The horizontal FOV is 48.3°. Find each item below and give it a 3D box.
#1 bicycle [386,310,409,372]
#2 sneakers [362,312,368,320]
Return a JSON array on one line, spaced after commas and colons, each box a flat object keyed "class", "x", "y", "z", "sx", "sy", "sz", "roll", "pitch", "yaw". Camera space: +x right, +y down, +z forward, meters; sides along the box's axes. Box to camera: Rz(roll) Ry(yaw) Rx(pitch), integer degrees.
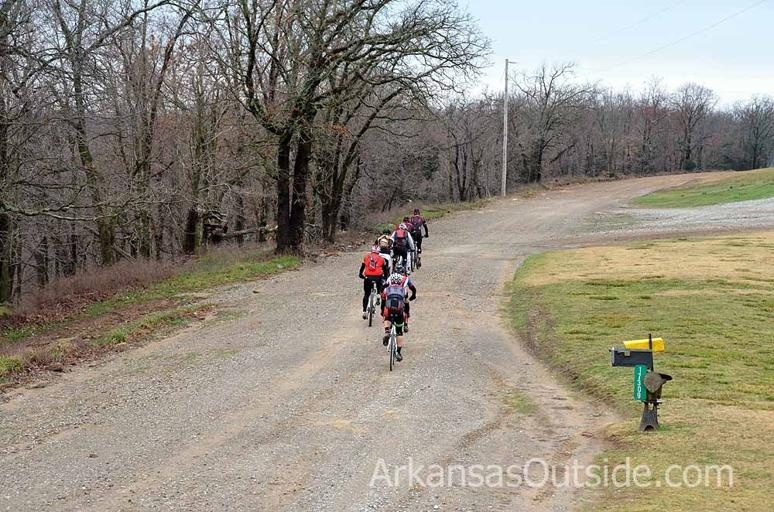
[{"class": "bicycle", "x": 0.225, "y": 2.836, "z": 29.755, "sx": 0.513, "sy": 1.900, "sz": 1.099, "roll": 5, "pitch": 15, "yaw": 29}, {"class": "sneakers", "x": -0.834, "y": 2.251, "z": 33.093, "sx": 0.216, "sy": 0.262, "sz": 0.302, "roll": -7, "pitch": -6, "yaw": 44}]
